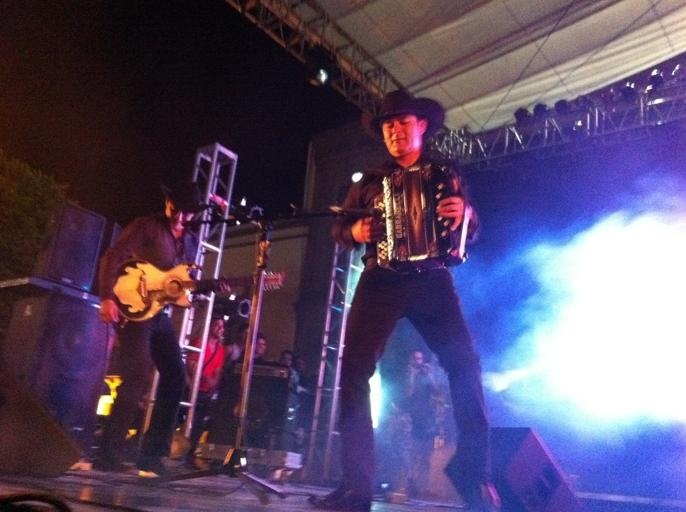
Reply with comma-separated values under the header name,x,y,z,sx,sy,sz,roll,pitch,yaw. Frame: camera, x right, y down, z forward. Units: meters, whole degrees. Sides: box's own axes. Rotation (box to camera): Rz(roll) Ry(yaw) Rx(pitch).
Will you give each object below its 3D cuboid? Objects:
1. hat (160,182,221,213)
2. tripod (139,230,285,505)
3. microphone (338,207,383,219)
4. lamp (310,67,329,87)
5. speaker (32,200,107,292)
name,x,y,z,sx,sy,sz,roll,pitch,yaw
hat,-1.603,-0.572,5.900,0.491,0.207,0.517,29,6,-39
tripod,-0.901,0.966,5.546,1.085,2.536,0.935,-6,-21,26
microphone,0.172,-0.374,4.954,0.361,0.073,0.087,3,13,-8
lamp,-0.413,-3.237,10.325,0.378,0.312,0.171,9,-20,-17
speaker,-3.775,-0.107,7.763,0.503,1.390,0.785,-8,-27,33
